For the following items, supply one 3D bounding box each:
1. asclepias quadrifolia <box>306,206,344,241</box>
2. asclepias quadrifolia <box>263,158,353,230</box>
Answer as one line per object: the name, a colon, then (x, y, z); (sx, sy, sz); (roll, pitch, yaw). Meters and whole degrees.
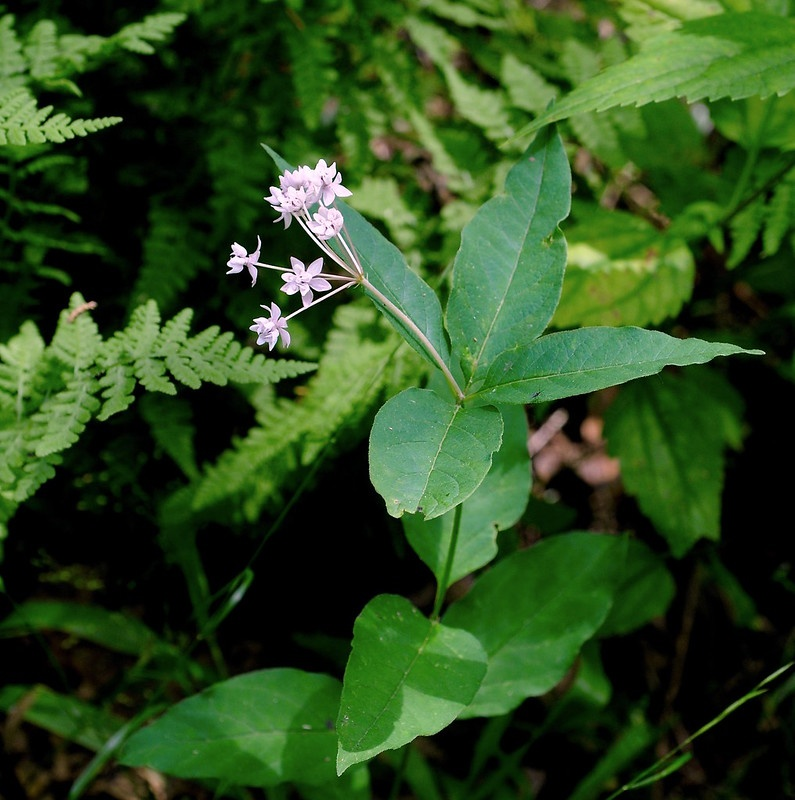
asclepias quadrifolia: (-0.170, -0.415, 2.147); (0.075, 0.044, 0.085); (-15, 60, 8)
asclepias quadrifolia: (-0.211, -0.498, 2.198); (0.203, 0.113, 0.191); (-3, 34, 14)
